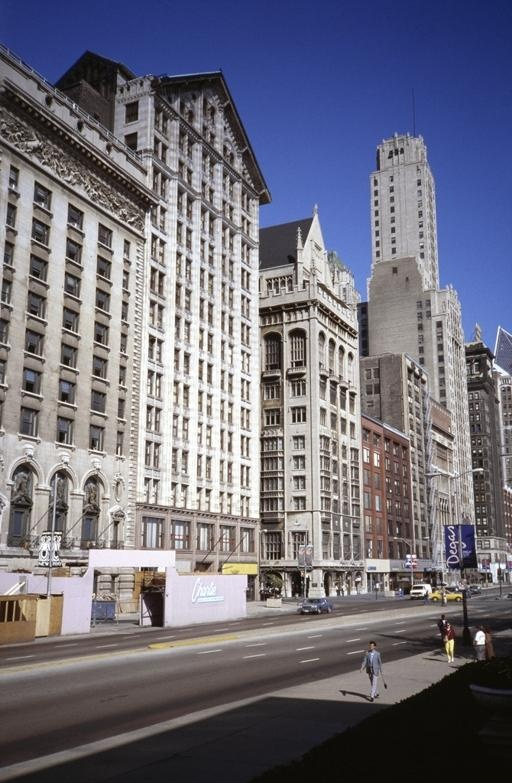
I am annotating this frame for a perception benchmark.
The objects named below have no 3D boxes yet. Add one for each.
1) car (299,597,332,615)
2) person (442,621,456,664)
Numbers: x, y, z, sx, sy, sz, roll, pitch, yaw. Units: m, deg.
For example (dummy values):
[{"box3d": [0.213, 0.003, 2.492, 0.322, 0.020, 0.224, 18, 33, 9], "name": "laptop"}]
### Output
[{"box3d": [5.578, 20.135, 57.838, 1.388, 1.079, 3.128, 1, -4, 15], "name": "car"}, {"box3d": [7.603, 9.960, 24.545, 0.407, 1.381, 3.474, -4, -15, 15], "name": "person"}]
